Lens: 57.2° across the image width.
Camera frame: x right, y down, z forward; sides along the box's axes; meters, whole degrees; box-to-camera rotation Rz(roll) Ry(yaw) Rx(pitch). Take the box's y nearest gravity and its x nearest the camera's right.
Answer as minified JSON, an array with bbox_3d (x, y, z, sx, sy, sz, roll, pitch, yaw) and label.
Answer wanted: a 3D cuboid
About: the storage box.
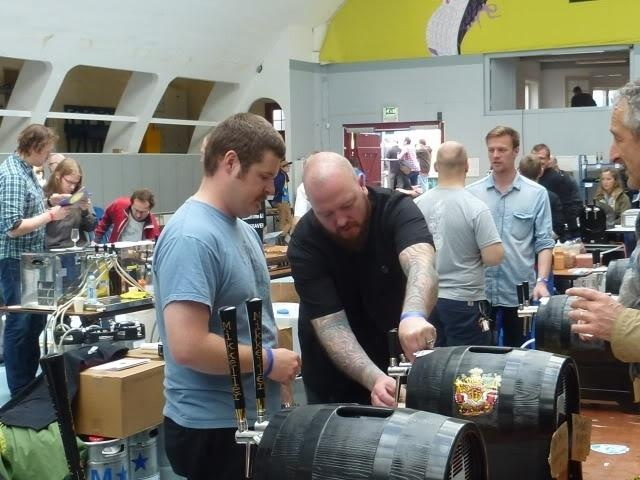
[{"bbox_3d":[-1.084,0.781,3.194,0.333,0.315,0.470,1,3,23],"label":"storage box"}]

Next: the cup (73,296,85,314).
[{"bbox_3d":[-1.798,0.487,4.372,0.092,0.111,0.103,-2,-1,9],"label":"cup"}]

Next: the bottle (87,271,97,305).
[{"bbox_3d":[-1.731,0.369,4.457,0.069,0.170,0.148,-1,1,-22],"label":"bottle"}]

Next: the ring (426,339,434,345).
[{"bbox_3d":[0.347,0.325,1.849,0.021,0.020,0.021,-11,-15,-3],"label":"ring"}]

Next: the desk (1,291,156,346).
[{"bbox_3d":[-1.815,0.579,4.459,1.047,0.218,0.443,-1,1,-2],"label":"desk"}]

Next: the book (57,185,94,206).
[{"bbox_3d":[-1.885,-0.322,4.581,0.182,0.053,0.200,-18,-3,10],"label":"book"}]

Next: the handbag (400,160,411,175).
[{"bbox_3d":[1.632,-1.401,11.234,0.181,0.262,0.254,18,-8,-5],"label":"handbag"}]

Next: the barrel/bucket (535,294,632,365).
[{"bbox_3d":[1.082,0.389,2.481,0.323,0.305,0.280,5,-3,19],"label":"barrel/bucket"}]
